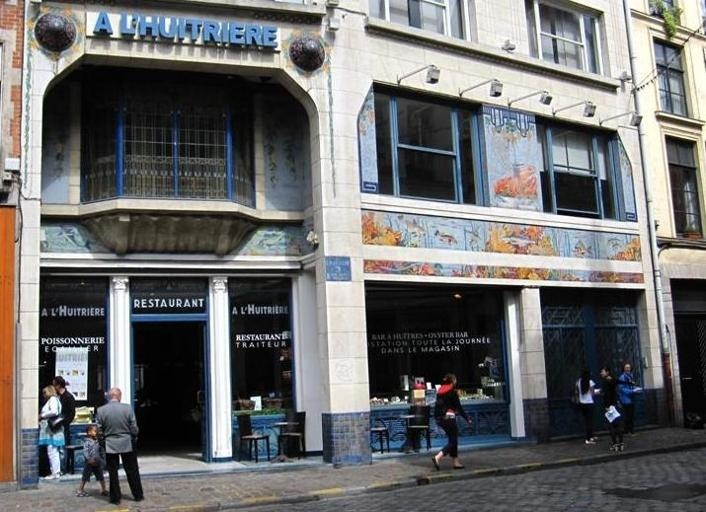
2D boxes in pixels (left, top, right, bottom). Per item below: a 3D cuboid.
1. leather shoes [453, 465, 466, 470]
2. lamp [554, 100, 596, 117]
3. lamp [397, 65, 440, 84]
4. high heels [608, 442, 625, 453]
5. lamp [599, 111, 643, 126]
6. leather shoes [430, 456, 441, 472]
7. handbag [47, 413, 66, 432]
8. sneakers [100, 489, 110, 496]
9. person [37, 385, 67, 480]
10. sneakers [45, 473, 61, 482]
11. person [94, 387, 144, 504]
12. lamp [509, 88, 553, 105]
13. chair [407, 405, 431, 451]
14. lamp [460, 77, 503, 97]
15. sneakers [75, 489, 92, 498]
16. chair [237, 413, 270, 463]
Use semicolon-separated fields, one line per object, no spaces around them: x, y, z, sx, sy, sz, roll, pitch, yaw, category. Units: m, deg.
2.484;4.951;19.031;0.255;0.110;0.357;-4;-10;7;leather shoes
6.771;-4.536;24.851;1.154;0.449;0.631;4;1;43;lamp
1.770;-4.936;22.102;1.038;0.470;0.562;5;4;39;lamp
6.887;5.023;21.216;0.174;0.178;0.446;-1;-4;5;high heels
8.435;-4.375;25.702;1.113;0.414;0.624;2;2;44;lamp
1.894;4.882;18.808;0.172;0.481;0.160;-3;6;21;leather shoes
-6.904;3.928;19.037;0.325;0.416;0.414;11;-41;-23;handbag
-5.294;5.052;17.394;0.206;0.196;0.099;0;1;-13;sneakers
-7.045;4.152;19.091;0.566;2.149;0.843;1;-11;-19;person
-7.036;5.205;19.052;0.415;0.245;0.139;4;-7;-2;sneakers
-4.822;3.937;16.898;0.893;2.348;0.498;0;-11;-18;person
5.277;-4.699;24.034;1.116;0.434;0.628;-8;10;9;lamp
1.770;4.582;21.766;0.641;1.228;0.749;-1;-14;8;chair
3.650;-4.792;23.070;1.091;0.434;0.600;1;2;34;lamp
-5.746;5.102;17.372;0.352;0.152;0.119;2;-5;-2;sneakers
-2.514;4.609;20.667;0.792;1.214;1.199;-2;-11;-6;chair
